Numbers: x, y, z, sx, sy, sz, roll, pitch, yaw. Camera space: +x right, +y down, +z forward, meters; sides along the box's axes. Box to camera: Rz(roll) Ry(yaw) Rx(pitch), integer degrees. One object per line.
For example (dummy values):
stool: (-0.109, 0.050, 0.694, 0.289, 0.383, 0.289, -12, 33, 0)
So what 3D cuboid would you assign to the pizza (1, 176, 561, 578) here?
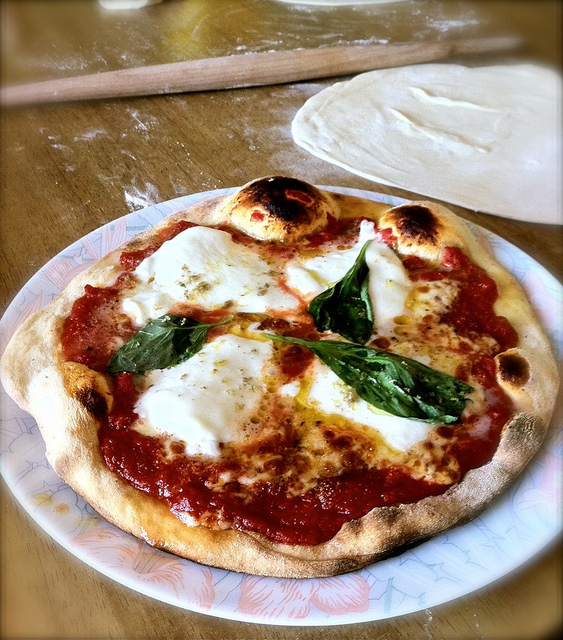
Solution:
pizza: (0.006, 0.072, 2.036, 1.467, 0.195, 1.292, 10, 50, 9)
